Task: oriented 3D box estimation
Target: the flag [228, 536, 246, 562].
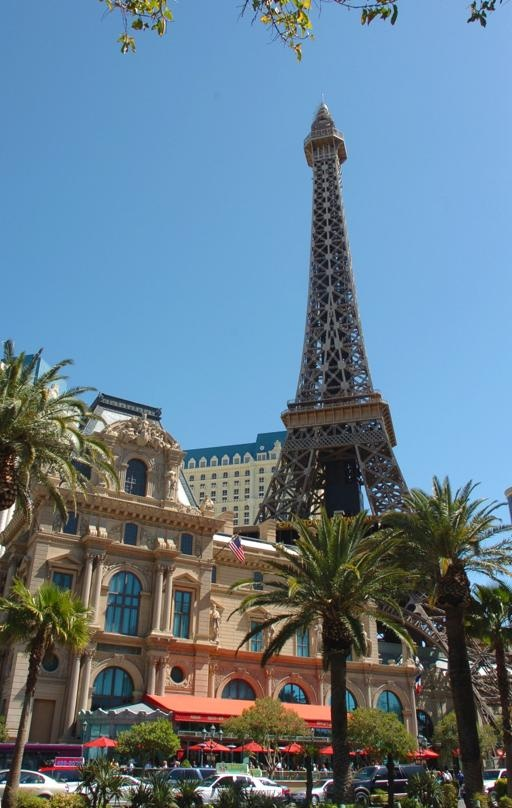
[{"bbox_3d":[-1.321,10.196,44.689,0.884,2.407,0.246,36,-65,-25],"label":"flag"}]
